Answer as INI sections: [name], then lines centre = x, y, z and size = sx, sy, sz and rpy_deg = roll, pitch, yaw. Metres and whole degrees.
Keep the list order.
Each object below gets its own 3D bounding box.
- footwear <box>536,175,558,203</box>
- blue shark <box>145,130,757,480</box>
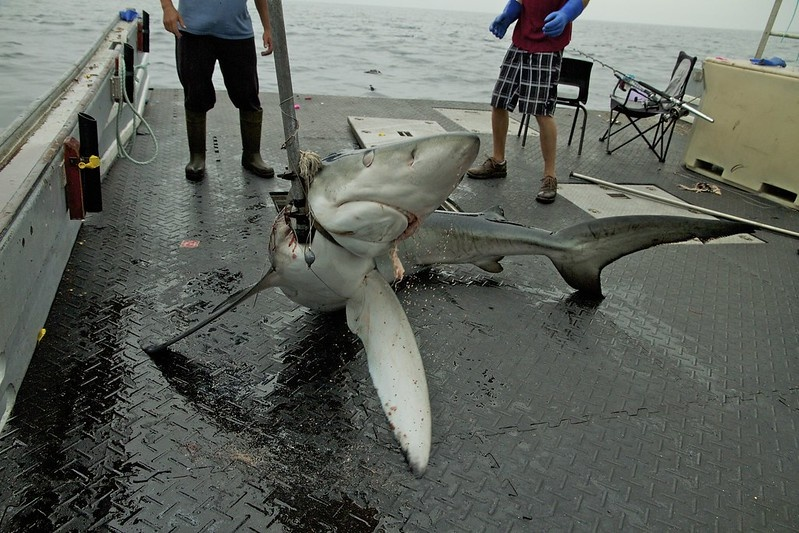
[footwear]
centre = 1.385, -0.733, 5.733
size = 0.135, 0.139, 0.359
rpy_deg = 3, 22, 21
[blue shark]
centre = 0.302, -0.054, 3.475
size = 2.867, 1.536, 1.938
rpy_deg = -19, 41, -36
